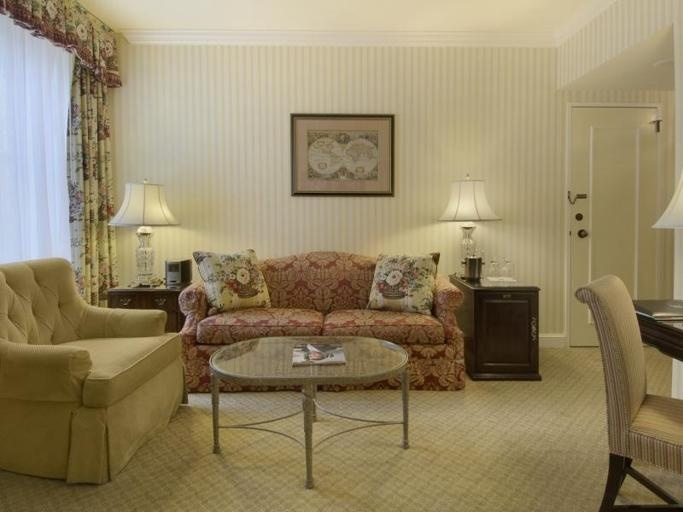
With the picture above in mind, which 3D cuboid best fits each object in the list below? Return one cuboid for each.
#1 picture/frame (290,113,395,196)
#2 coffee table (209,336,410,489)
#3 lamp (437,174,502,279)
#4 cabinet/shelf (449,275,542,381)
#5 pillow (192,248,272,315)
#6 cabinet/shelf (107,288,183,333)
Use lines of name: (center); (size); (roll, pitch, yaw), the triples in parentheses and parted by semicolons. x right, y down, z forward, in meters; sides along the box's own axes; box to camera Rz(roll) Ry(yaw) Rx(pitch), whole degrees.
picture/frame: (-0.020, -0.954, 5.152); (0.752, 0.571, 0.058); (0, 2, -5)
coffee table: (-0.165, 0.880, 3.555); (1.156, 0.598, 0.936); (6, 15, 24)
lamp: (1.108, -0.266, 4.941); (0.481, 0.846, 0.623); (4, 14, 15)
cabinet/shelf: (1.264, 0.614, 4.829); (0.509, 0.610, 0.875); (-1, 1, 4)
pillow: (-0.893, 0.184, 4.536); (0.538, 0.501, 0.158); (-12, -15, -45)
cabinet/shelf: (-1.635, 0.447, 4.794); (0.524, 0.498, 0.384); (0, 19, -10)
